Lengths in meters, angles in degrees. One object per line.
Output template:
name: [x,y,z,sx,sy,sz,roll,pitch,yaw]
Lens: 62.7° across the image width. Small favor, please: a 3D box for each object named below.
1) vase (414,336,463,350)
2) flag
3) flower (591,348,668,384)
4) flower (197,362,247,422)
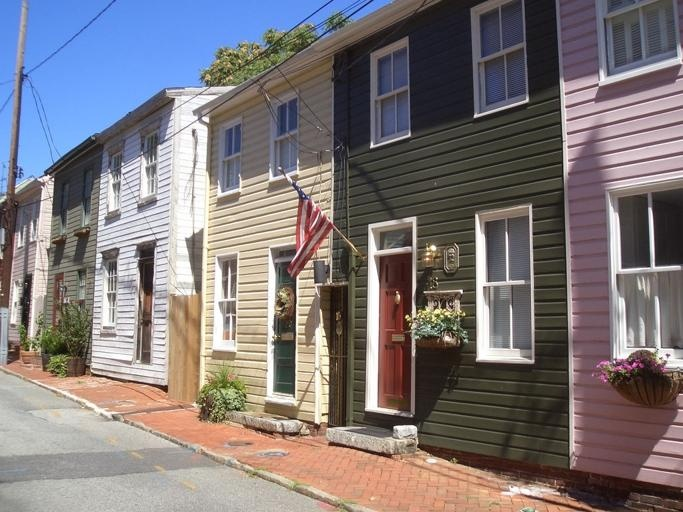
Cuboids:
vase: [1.485,1.334,8.637,0.359,0.224,0.718,5,-6,-40]
flag: [-0.566,-0.496,9.893,0.793,1.676,0.411,1,-4,-2]
flower: [3.408,1.230,6.652,0.470,0.283,0.584,0,-8,-7]
flower: [-2.589,2.895,11.912,0.889,1.045,0.983,0,2,-41]
